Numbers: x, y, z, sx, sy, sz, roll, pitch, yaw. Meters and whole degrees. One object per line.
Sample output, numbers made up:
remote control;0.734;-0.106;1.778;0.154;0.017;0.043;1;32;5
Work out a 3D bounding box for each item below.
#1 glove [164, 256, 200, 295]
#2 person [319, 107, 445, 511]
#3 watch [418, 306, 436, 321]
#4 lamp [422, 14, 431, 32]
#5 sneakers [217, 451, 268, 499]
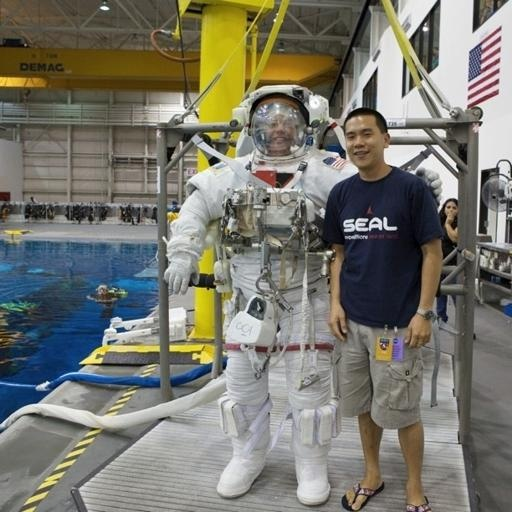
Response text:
glove;-0.350;0.092;2.347;0.152;0.192;0.084;6;-14;24
person;0.515;0.229;1.990;0.485;1.677;0.260;0;5;20
watch;0.677;0.233;1.899;0.070;0.041;0.068;12;-12;10
lamp;3.202;-4.371;8.970;0.054;0.218;0.159;0;-5;-7
sneakers;-0.064;1.000;2.179;0.100;0.098;0.256;-3;-4;18
